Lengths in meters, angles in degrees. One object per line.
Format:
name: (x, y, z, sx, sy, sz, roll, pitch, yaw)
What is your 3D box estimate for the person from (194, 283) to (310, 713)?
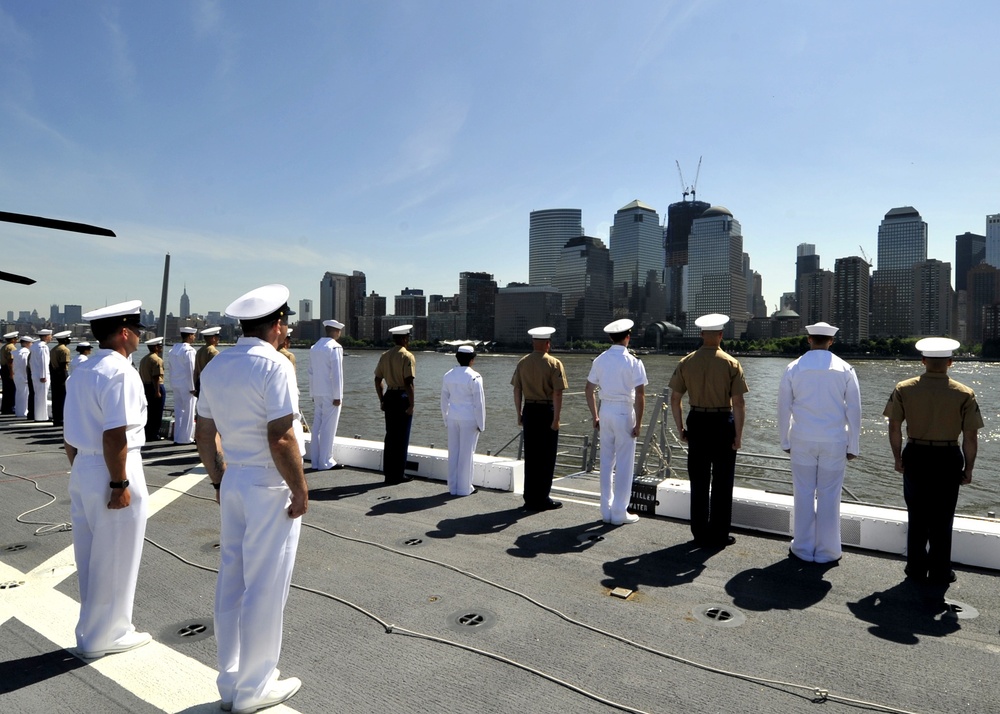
person: (-1.973, 1.112, 6.171, 0.760, 3.150, 0.942, -4, 12, -21)

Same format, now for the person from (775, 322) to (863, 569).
person: (3.447, 0.886, 8.405, 0.839, 2.454, 1.009, 3, 11, 15)

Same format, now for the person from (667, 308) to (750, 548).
person: (2.388, 0.808, 8.943, 0.850, 2.522, 1.214, 3, 11, 14)

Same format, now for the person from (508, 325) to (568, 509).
person: (0.499, 0.812, 10.359, 0.681, 2.418, 1.422, 0, 11, 2)

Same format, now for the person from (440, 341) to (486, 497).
person: (-0.540, 0.875, 10.949, 0.590, 1.992, 1.130, -1, 11, -5)

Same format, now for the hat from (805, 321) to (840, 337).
hat: (3.511, -0.290, 8.506, 0.219, 0.102, 0.258, 0, 4, 4)

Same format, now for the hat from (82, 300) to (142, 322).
hat: (-3.108, -0.337, 6.209, 0.367, 0.110, 0.314, -5, 11, -31)
